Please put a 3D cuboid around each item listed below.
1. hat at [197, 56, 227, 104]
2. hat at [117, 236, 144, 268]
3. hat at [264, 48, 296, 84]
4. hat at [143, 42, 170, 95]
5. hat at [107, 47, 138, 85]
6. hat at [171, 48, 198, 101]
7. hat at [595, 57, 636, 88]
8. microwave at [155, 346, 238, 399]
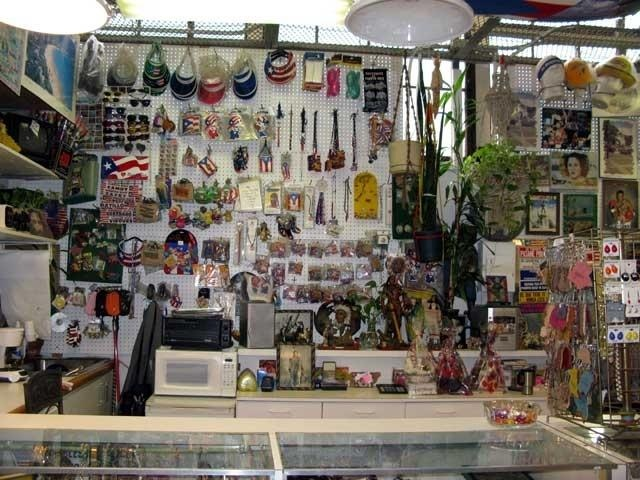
[{"bbox_3d":[-0.891,-1.350,5.499,0.256,0.275,0.368,3,45,-13],"label":"hat"},{"bbox_3d":[-1.551,0.102,5.382,0.193,0.181,0.252,2,60,-17],"label":"hat"},{"bbox_3d":[-0.326,-1.455,5.490,0.273,0.233,0.224,12,43,-4],"label":"hat"},{"bbox_3d":[-1.341,-1.384,5.396,0.208,0.404,0.207,26,44,13],"label":"hat"},{"bbox_3d":[-1.621,-1.437,5.418,0.197,0.257,0.412,6,13,-11],"label":"hat"},{"bbox_3d":[-1.126,-1.363,5.444,0.196,0.502,0.272,11,50,-14],"label":"hat"},{"bbox_3d":[2.262,-1.242,4.990,0.225,0.184,0.227,27,4,37],"label":"hat"},{"bbox_3d":[-0.898,0.981,4.573,0.462,0.345,0.325,1,79,-1],"label":"microwave"}]
